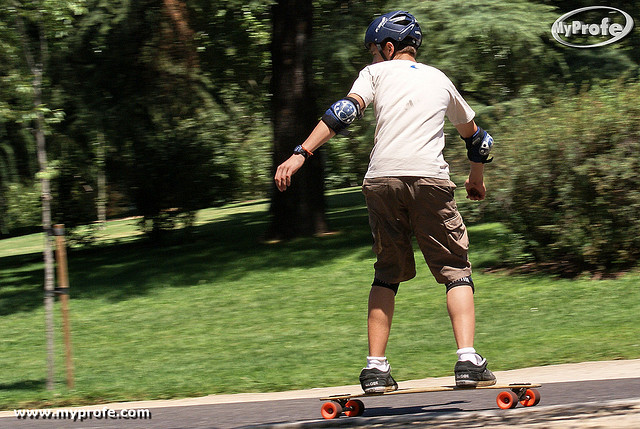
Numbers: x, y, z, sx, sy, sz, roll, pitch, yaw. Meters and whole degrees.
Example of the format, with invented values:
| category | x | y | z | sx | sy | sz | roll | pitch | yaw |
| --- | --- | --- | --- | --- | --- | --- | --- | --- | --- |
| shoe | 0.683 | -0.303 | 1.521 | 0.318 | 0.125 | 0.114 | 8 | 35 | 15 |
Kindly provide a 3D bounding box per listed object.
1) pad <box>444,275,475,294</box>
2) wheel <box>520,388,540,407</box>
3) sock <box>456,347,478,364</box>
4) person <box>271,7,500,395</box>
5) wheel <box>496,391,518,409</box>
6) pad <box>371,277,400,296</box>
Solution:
| category | x | y | z | sx | sy | sz | roll | pitch | yaw |
| --- | --- | --- | --- | --- | --- | --- | --- | --- | --- |
| pad | 1.120 | 0.552 | 5.785 | 0.177 | 0.093 | 0.155 | -2 | -3 | 8 |
| wheel | 1.669 | 1.442 | 5.694 | 0.117 | 0.131 | 0.204 | 0 | 11 | 41 |
| sock | 1.155 | 1.095 | 5.618 | 0.139 | 0.130 | 0.075 | -6 | 10 | 5 |
| person | 0.726 | -0.126 | 5.817 | 1.145 | 3.078 | 1.454 | 0 | 13 | 41 |
| wheel | 1.470 | 1.453 | 5.652 | 0.159 | 0.118 | 0.135 | -3 | 9 | 21 |
| pad | 0.519 | 0.588 | 5.842 | 0.155 | 0.107 | 0.149 | 15 | -13 | 10 |
